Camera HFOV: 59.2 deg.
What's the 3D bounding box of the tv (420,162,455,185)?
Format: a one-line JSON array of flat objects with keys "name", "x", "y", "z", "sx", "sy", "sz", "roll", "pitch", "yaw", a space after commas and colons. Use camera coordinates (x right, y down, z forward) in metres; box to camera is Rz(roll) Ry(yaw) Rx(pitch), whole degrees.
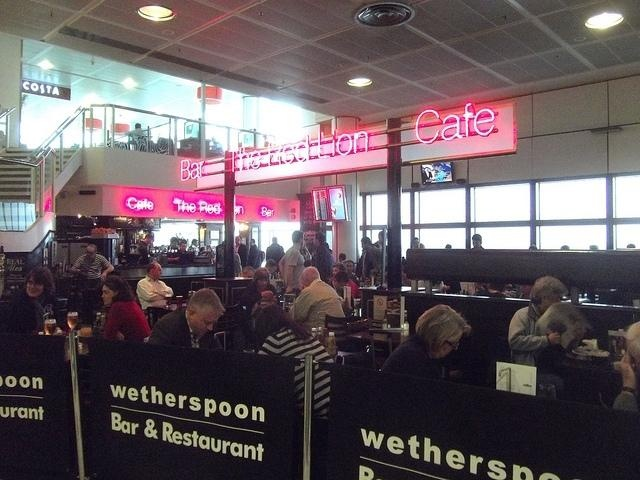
[{"name": "tv", "x": 2.505, "y": -1.439, "z": 12.310, "sx": 0.838, "sy": 0.453, "sz": 0.192, "roll": 2, "pitch": 1, "yaw": 44}]
